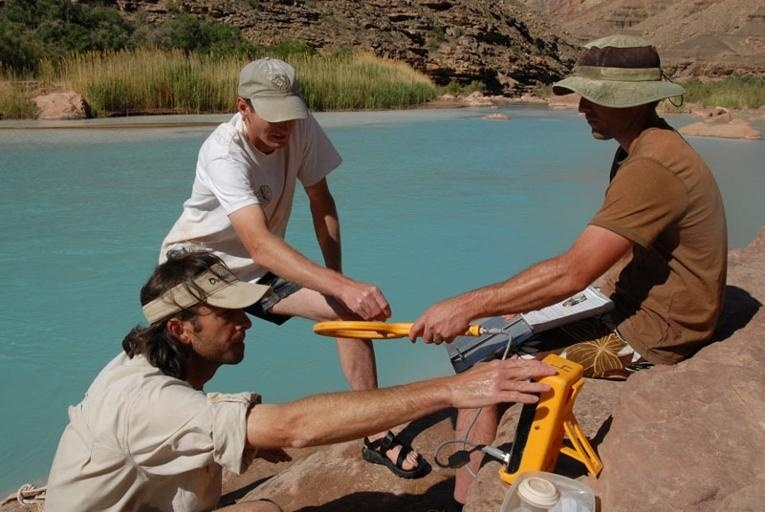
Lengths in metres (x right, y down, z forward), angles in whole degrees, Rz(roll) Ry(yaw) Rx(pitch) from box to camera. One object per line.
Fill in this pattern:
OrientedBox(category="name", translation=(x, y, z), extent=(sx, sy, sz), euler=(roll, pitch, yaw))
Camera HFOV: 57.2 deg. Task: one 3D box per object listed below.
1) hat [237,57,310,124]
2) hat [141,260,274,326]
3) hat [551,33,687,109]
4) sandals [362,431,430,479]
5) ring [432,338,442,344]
OrientedBox(category="hat", translation=(-0.771, -1.124, 4.787), extent=(0.356, 0.275, 0.536), euler=(-17, 38, -35))
OrientedBox(category="hat", translation=(-1.022, 0.226, 4.043), extent=(0.603, 0.213, 0.345), euler=(-16, 1, 6))
OrientedBox(category="hat", translation=(1.472, -1.126, 4.290), extent=(0.568, 0.263, 0.551), euler=(-12, 19, -12))
OrientedBox(category="sandals", translation=(0.051, 1.366, 4.975), extent=(0.562, 0.237, 0.223), euler=(15, 42, 30))
OrientedBox(category="ring", translation=(0.321, 0.513, 4.222), extent=(0.064, 0.023, 0.047), euler=(-1, 7, 42))
